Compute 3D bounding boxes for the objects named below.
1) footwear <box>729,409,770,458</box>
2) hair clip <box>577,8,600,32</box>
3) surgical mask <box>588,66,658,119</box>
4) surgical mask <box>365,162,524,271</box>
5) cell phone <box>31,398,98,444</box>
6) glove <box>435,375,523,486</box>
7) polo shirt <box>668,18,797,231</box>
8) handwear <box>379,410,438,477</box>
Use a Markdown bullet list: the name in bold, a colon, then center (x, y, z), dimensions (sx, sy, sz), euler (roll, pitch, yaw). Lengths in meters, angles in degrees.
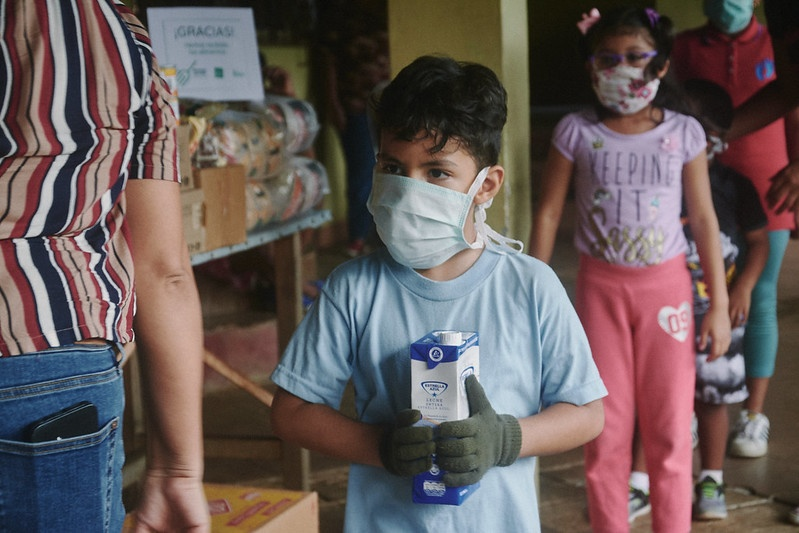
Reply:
- **footwear**: center (1.453, 0.663, 3.467), dimensions (0.146, 0.133, 0.318), euler (1, 17, 30)
- **hair clip**: center (0.721, -0.938, 3.206), dimensions (0.029, 0.079, 0.080), euler (27, 25, -30)
- **surgical mask**: center (0.852, -0.661, 3.179), dimensions (0.169, 0.129, 0.202), euler (12, 13, 16)
- **surgical mask**: center (0.097, -0.155, 2.368), dimensions (0.282, 0.223, 0.351), euler (12, 19, 34)
- **cell phone**: center (-0.756, 0.349, 1.904), dimensions (0.117, 0.072, 0.023), euler (-22, 25, -32)
- **glove**: center (0.178, 0.422, 2.184), dimensions (0.250, 0.262, 0.099), euler (32, -26, -24)
- **polo shirt**: center (1.282, -0.535, 3.219), dimensions (0.446, 0.803, 0.084), euler (-3, 4, -7)
- **handwear**: center (0.017, 0.415, 2.080), dimensions (0.121, 0.178, 0.064), euler (1, -4, 7)
